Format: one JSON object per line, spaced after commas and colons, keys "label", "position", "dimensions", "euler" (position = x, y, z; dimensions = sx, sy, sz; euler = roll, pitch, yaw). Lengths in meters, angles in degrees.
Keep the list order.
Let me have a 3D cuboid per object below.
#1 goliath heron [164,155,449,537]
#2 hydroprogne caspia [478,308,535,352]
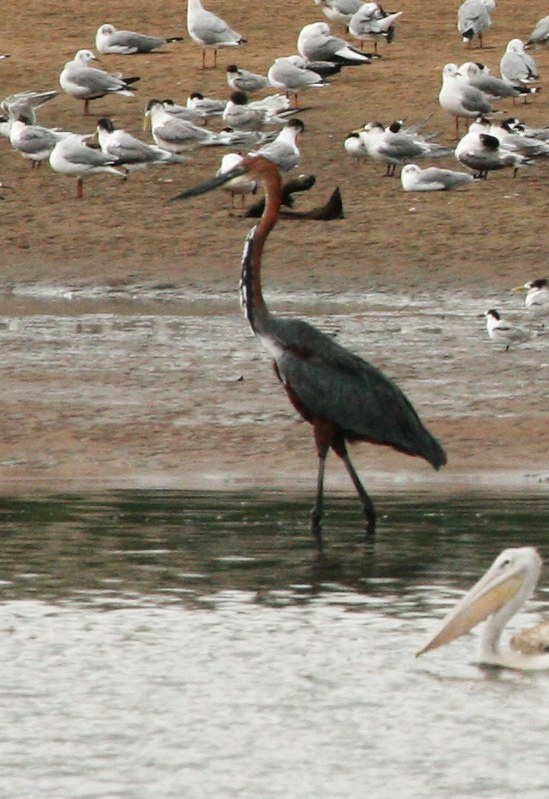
{"label": "goliath heron", "position": [0.170, -0.212, 8.200], "dimensions": [1.951, 2.237, 0.574], "euler": [3, 3, -22]}
{"label": "hydroprogne caspia", "position": [2.397, -0.715, 14.355], "dimensions": [0.540, 0.394, 0.465], "euler": [-1, 10, 14]}
